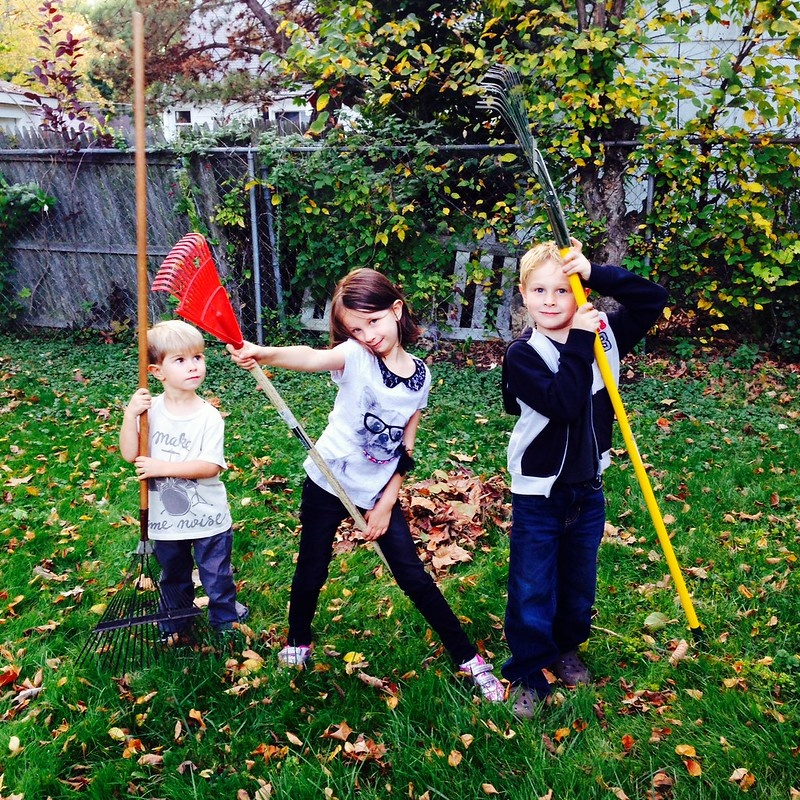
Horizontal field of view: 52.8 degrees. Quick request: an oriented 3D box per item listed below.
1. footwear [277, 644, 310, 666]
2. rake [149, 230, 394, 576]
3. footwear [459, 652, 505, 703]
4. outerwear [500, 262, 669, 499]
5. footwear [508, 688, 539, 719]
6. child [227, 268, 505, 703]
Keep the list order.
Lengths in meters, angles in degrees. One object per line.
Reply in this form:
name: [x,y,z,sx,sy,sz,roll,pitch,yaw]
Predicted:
footwear: [-0.458,1.119,3.519,0.130,0.067,0.050,-3,-2,-10]
rake: [-0.579,-0.083,3.246,0.786,1.136,0.427,3,13,2]
footwear: [0.344,1.147,3.384,0.086,0.086,0.228,-41,37,-6]
outerwear: [0.702,-0.085,3.231,0.555,0.909,0.389,-7,16,-35]
footwear: [0.492,1.210,3.229,0.088,0.093,0.114,8,35,-3]
child: [-0.056,0.379,3.231,1.117,1.675,0.813,3,10,15]
